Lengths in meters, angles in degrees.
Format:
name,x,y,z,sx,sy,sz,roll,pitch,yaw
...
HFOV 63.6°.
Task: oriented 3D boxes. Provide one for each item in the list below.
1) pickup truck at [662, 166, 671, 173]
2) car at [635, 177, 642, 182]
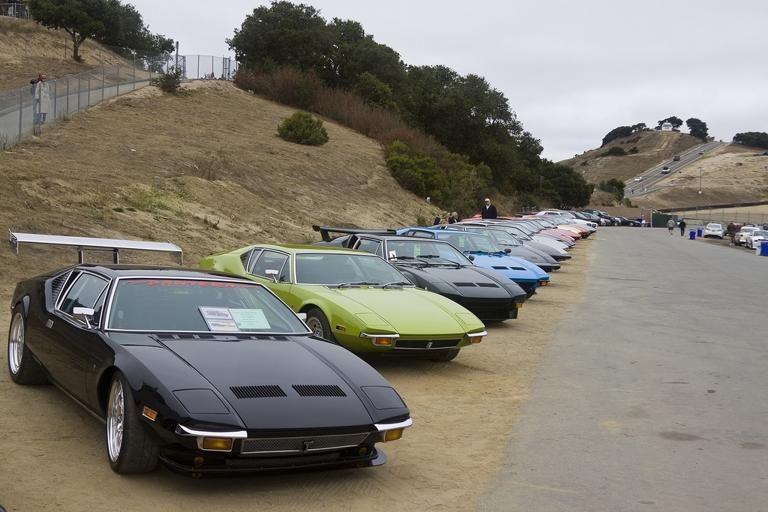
name,x,y,z,sx,sy,sz,roll,pitch,yaw
pickup truck,85.034,-25.491,185.708,2.479,1.237,4.476,1,8,15
car,74.030,-21.993,179.332,1.704,0.928,3.457,7,9,27
